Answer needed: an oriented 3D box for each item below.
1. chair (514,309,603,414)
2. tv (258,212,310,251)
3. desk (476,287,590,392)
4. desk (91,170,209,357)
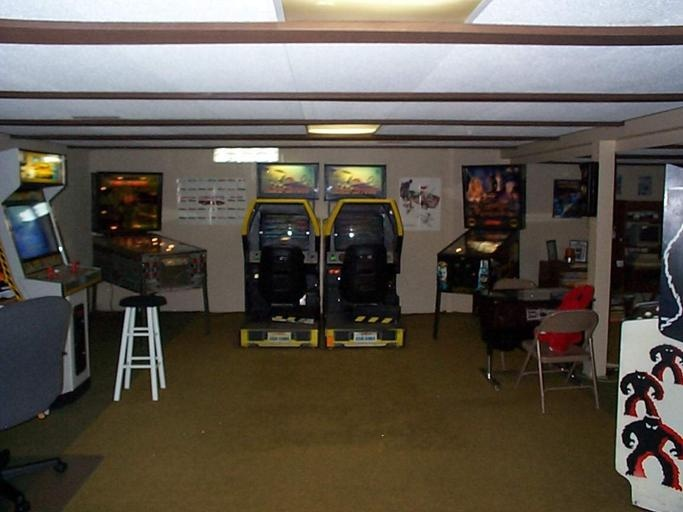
[{"bbox_3d":[2.160,1.040,5.360,0.668,1.212,0.872,-2,20,0],"label":"chair"},{"bbox_3d":[-0.773,-0.306,7.015,0.507,0.369,0.074,1,-2,-5],"label":"tv"},{"bbox_3d":[2.033,0.915,5.649,1.264,0.979,0.983,-1,10,-2],"label":"desk"},{"bbox_3d":[-2.607,-0.350,7.191,1.572,1.449,0.972,13,19,40],"label":"desk"}]
